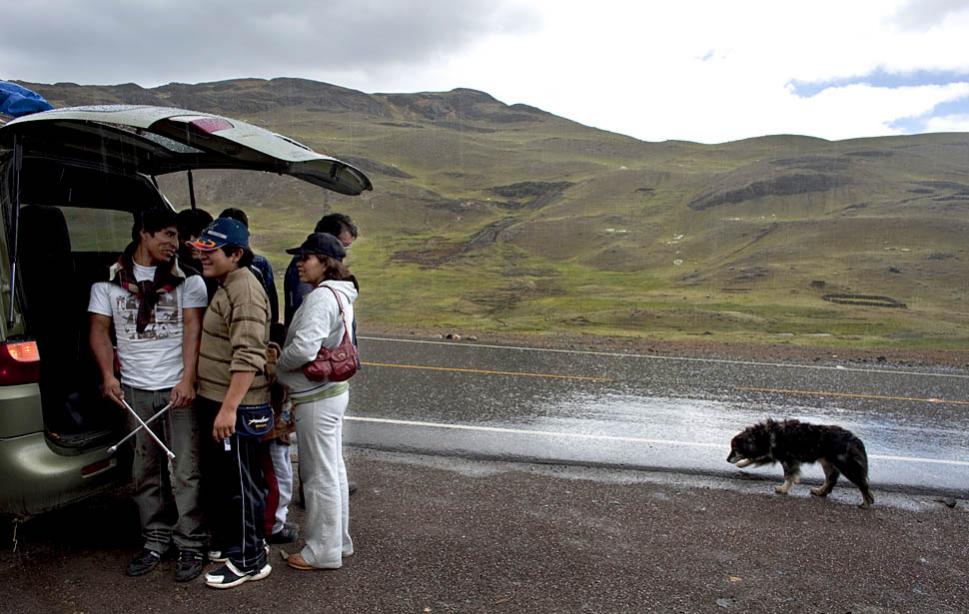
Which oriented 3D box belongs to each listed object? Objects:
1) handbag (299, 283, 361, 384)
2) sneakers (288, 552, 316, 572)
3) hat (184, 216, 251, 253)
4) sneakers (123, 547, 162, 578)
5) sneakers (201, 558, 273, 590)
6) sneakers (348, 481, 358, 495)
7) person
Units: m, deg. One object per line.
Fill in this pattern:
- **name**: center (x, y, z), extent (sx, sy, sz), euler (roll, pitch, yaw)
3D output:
- **handbag**: center (-1.462, 0.246, 6.500), extent (0.511, 0.920, 0.392), euler (0, 11, -15)
- **sneakers**: center (-1.787, 2.464, 6.685), extent (0.279, 0.087, 0.140), euler (12, -6, 0)
- **hat**: center (-2.487, -0.682, 6.410), extent (0.508, 0.220, 0.314), euler (3, 4, -22)
- **sneakers**: center (-3.260, 2.436, 6.628), extent (0.184, 0.133, 0.327), euler (27, 15, 8)
- **sneakers**: center (-2.334, 2.528, 6.591), extent (0.694, 0.240, 0.231), euler (4, -6, -24)
- **sneakers**: center (-1.545, 2.115, 8.057), extent (0.169, 0.124, 0.064), euler (-3, -25, -26)
- **person**: center (-2.760, 0.835, 6.548), extent (1.696, 3.459, 0.804), euler (6, 11, 16)
